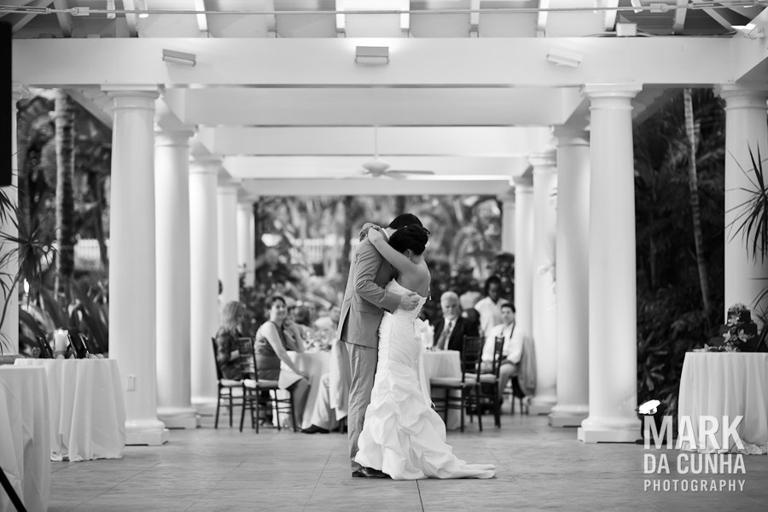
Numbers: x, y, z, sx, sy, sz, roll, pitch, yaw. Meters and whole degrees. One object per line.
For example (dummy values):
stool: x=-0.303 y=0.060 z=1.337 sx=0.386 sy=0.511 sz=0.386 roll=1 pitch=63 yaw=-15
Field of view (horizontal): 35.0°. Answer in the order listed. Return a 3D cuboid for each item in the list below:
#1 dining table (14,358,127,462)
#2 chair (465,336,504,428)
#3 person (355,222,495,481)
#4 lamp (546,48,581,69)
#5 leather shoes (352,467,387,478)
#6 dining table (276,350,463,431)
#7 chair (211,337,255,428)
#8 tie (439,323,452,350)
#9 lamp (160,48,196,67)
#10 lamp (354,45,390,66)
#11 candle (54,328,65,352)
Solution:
dining table: x=-3.713 y=1.653 z=14.633 sx=1.267 sy=1.369 sz=1.090 roll=1 pitch=5 yaw=1
chair: x=1.438 y=1.831 z=17.794 sx=0.694 sy=1.205 sz=0.656 roll=-5 pitch=1 yaw=14
person: x=0.280 y=1.048 z=13.287 sx=1.228 sy=2.728 sz=0.408 roll=0 pitch=-6 yaw=-7
lamp: x=2.320 y=-2.539 z=15.692 sx=0.398 sy=0.219 sz=0.182 roll=11 pitch=-26 yaw=0
leather shoes: x=-0.158 y=2.347 z=13.291 sx=0.374 sy=0.173 sz=0.137 roll=-2 pitch=-4 yaw=12
dining table: x=-0.198 y=1.739 z=16.846 sx=1.509 sy=0.982 sz=1.547 roll=-1 pitch=-7 yaw=5
chair: x=-2.197 y=1.869 z=17.976 sx=0.655 sy=1.263 sz=0.729 roll=3 pitch=-12 yaw=-15
tie: x=0.989 y=1.272 z=19.509 sx=0.098 sy=0.386 sz=0.268 roll=13 pitch=8 yaw=-4
lamp: x=-2.634 y=-2.537 z=15.681 sx=0.439 sy=0.191 sz=0.105 roll=1 pitch=-6 yaw=-14
lamp: x=-0.152 y=-2.578 z=15.749 sx=0.437 sy=0.225 sz=0.145 roll=0 pitch=-6 yaw=-3
candle: x=-3.790 y=1.002 z=14.301 sx=0.146 sy=0.266 sz=0.088 roll=1 pitch=-6 yaw=-14
